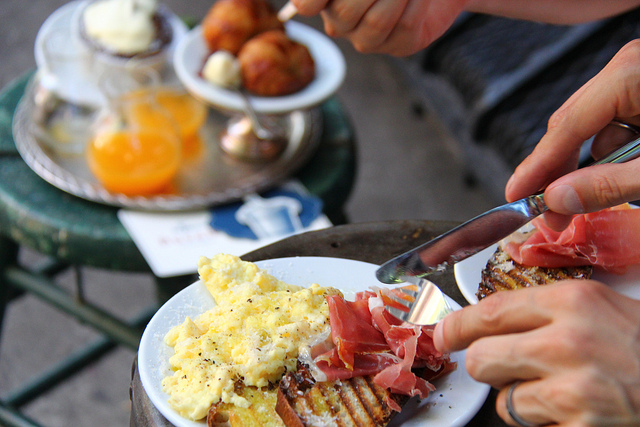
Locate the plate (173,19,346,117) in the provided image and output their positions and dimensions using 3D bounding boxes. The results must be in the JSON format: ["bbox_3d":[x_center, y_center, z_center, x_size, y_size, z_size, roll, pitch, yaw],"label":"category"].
[{"bbox_3d":[-0.235,-0.546,2.361,0.663,0.328,0.455,12,70,-1],"label":"plate"}]

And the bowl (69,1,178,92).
[{"bbox_3d":[-0.829,-0.642,2.596,0.411,0.172,0.480,19,55,7],"label":"bowl"}]
